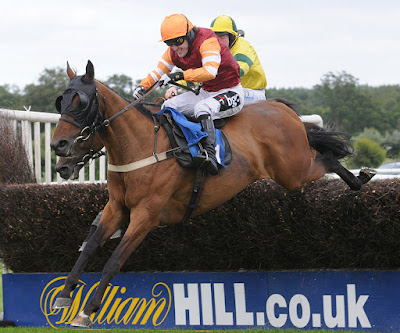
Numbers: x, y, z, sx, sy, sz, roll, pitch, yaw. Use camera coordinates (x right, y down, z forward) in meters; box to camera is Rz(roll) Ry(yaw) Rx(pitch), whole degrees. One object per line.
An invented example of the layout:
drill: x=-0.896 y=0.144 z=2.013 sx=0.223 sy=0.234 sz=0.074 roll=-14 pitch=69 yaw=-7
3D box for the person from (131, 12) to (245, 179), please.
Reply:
person: x=-0.060 y=-0.769 z=9.256 sx=1.173 sy=1.503 sz=0.934 roll=-3 pitch=-4 yaw=-32

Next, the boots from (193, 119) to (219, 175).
boots: x=0.051 y=-0.158 z=8.905 sx=0.158 sy=0.338 sz=0.562 roll=-34 pitch=31 yaw=26

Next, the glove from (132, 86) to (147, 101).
glove: x=-0.623 y=-0.727 z=9.114 sx=0.156 sy=0.114 sz=0.064 roll=-47 pitch=-5 yaw=-34

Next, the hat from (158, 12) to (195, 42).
hat: x=-0.230 y=-1.351 z=8.973 sx=0.314 sy=0.269 sz=0.261 roll=0 pitch=8 yaw=0
